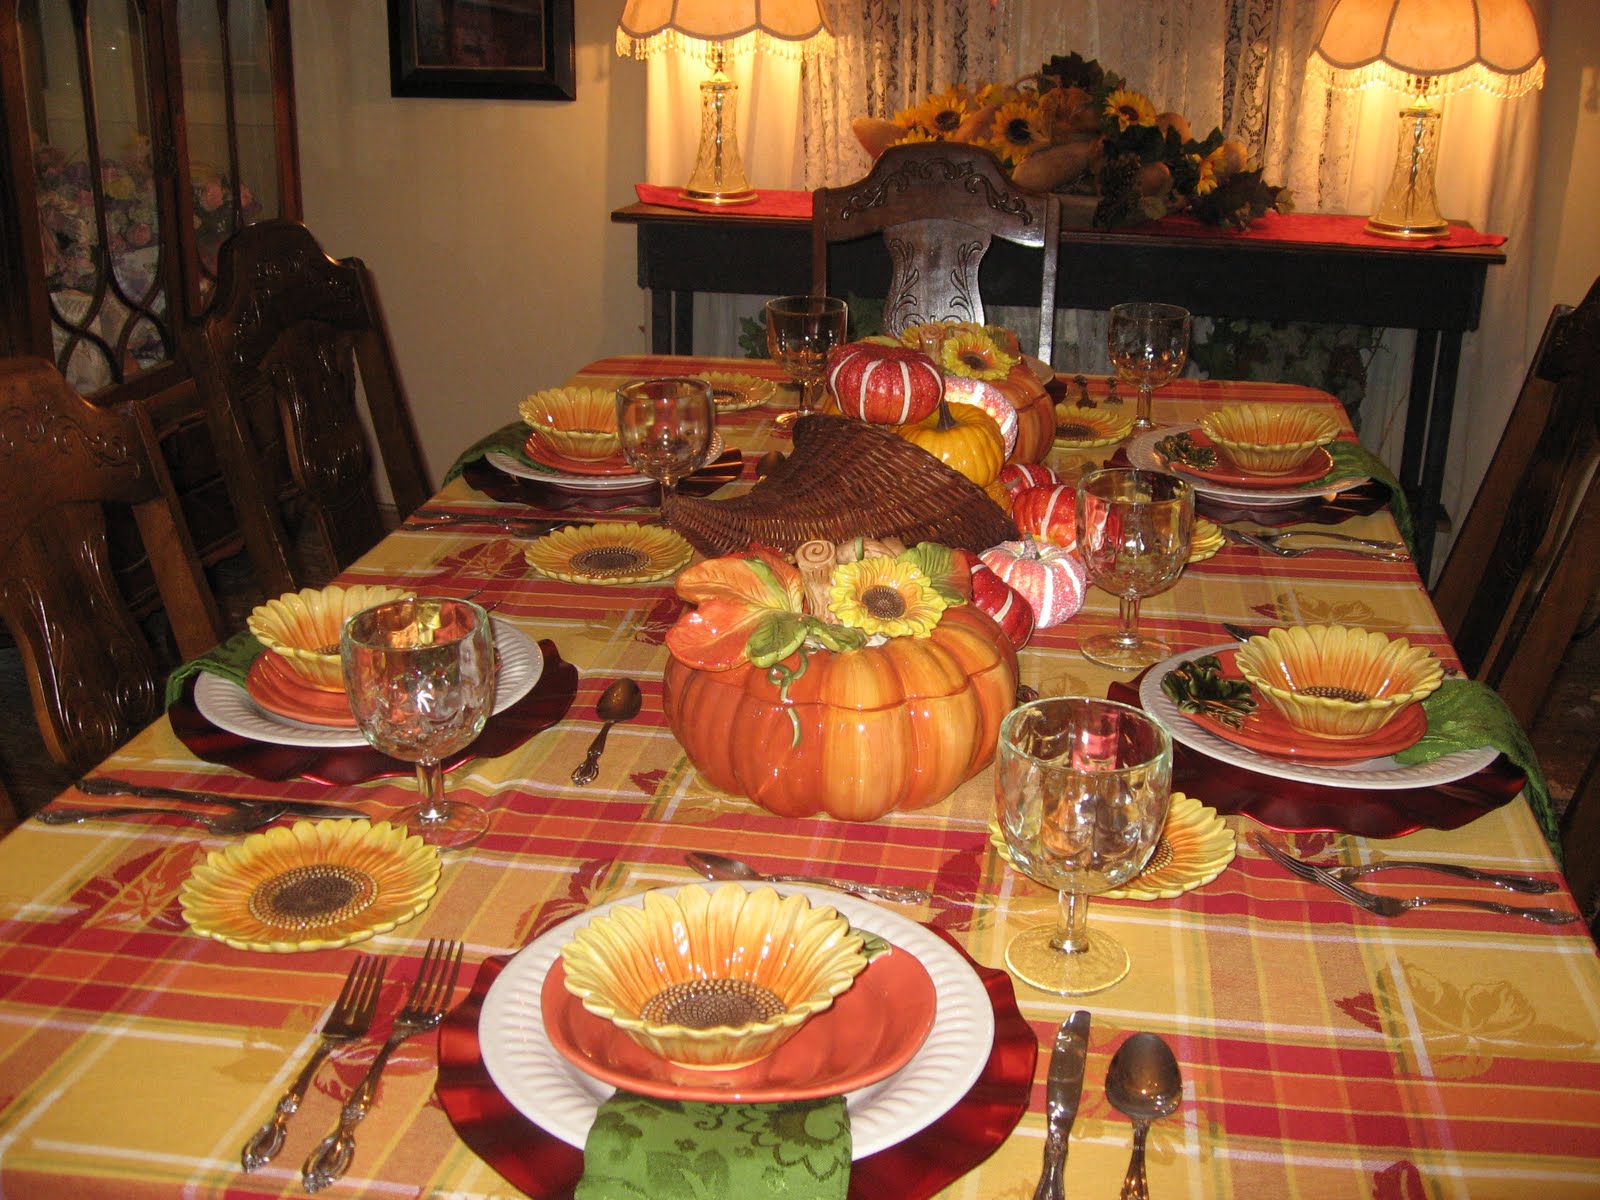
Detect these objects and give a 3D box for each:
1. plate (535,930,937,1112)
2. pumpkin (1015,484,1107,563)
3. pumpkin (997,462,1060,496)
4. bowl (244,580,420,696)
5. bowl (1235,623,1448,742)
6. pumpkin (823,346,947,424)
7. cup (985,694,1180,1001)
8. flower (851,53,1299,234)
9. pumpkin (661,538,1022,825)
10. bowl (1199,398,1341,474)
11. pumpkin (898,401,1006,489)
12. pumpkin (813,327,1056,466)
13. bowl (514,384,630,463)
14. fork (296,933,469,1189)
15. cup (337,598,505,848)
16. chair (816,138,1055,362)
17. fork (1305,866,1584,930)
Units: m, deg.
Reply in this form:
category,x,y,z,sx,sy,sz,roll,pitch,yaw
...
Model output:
category,x,y,z,sx,sy,sz,roll,pitch,yaw
plate,-0.033,0.257,0.691,0.237,0.039,0.123,-2,23,-9
pumpkin,0.294,-0.091,1.322,0.087,0.082,0.089,29,21,34
pumpkin,0.276,-0.151,1.443,0.048,0.041,0.065,18,5,-5
bowl,-0.471,0.036,1.182,0.135,0.053,0.136,5,32,-3
bowl,0.501,0.068,1.107,0.134,0.051,0.126,5,28,-3
pumpkin,0.105,-0.268,1.406,0.113,0.060,0.114,1,24,-9
cup,0.198,0.180,0.825,0.132,0.188,0.126,1,22,0
flower,0.824,-1.261,3.229,0.783,0.349,0.680,25,19,26
pumpkin,0.026,0.068,1.068,0.263,0.185,0.255,-3,15,-9
bowl,0.695,-0.244,1.758,0.171,0.065,0.177,0,33,0
pumpkin,0.187,-0.183,1.404,0.112,0.098,0.110,4,10,-35
pumpkin,0.143,-0.295,1.493,0.209,0.098,0.243,-1,16,-27
bowl,-0.356,-0.267,1.838,0.149,0.056,0.153,4,39,-4
fork,-0.260,0.283,0.734,0.022,0.018,0.159,2,35,13
cup,-0.319,0.106,0.976,0.120,0.181,0.116,3,30,-2
chair,0.294,-0.898,2.845,0.494,0.777,0.544,0,39,4
fork,0.484,0.227,0.894,0.190,0.028,0.026,1,41,11
